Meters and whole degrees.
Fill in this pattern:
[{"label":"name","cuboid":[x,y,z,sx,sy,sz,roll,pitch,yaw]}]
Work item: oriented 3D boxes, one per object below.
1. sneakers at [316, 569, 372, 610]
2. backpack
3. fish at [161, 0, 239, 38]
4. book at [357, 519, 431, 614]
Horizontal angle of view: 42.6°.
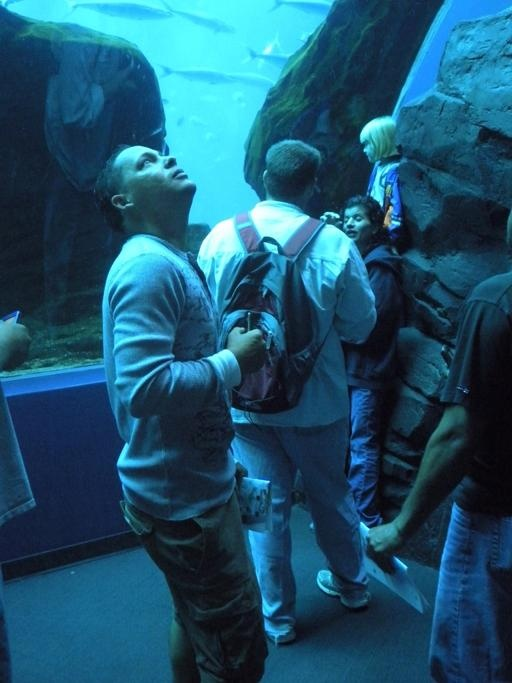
[{"label":"sneakers","cuboid":[0.383,1.157,3.068,0.109,0.124,0.292,-16,18,-33]},{"label":"backpack","cuboid":[0.057,-0.116,2.742,0.548,0.771,0.489,3,8,4]},{"label":"fish","cuboid":[-0.404,-2.454,5.021,0.148,0.095,0.635,17,17,40]},{"label":"book","cuboid":[0.398,0.674,2.067,0.185,0.167,0.212,-10,-16,-5]}]
